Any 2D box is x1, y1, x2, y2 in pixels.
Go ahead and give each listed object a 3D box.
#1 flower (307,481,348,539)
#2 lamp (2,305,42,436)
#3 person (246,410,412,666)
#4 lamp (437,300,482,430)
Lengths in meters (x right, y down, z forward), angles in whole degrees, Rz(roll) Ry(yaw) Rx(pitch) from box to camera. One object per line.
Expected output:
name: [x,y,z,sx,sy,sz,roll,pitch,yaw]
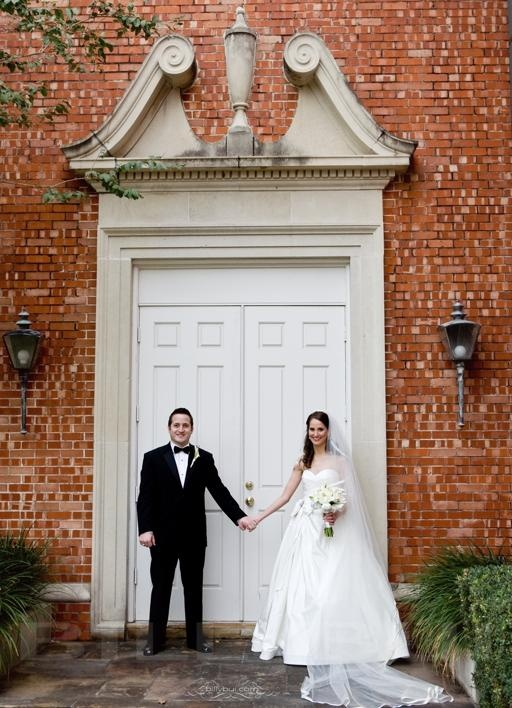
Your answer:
flower: [0.484,1.119,8.140,0.294,0.414,0.302,1,-2,-15]
lamp: [-1.775,0.150,8.821,0.291,0.937,0.204,-4,9,-16]
person: [0.472,1.391,8.365,0.998,1.924,0.952,1,-14,8]
lamp: [1.534,0.080,8.754,0.296,0.955,0.348,0,9,10]
